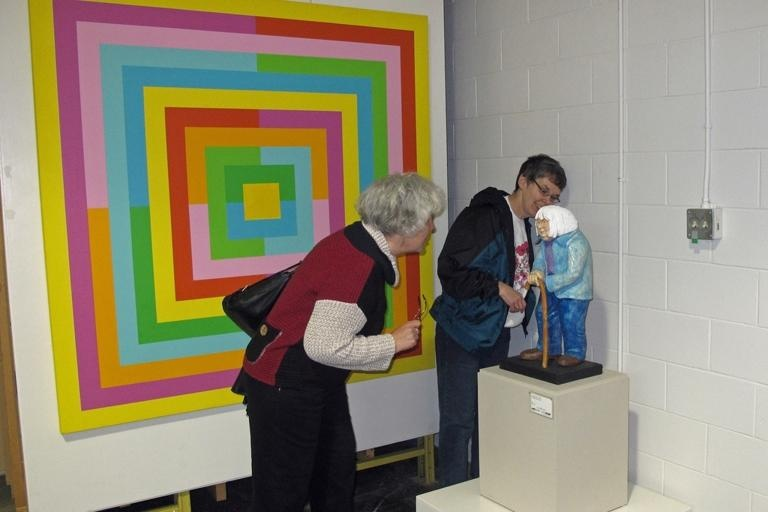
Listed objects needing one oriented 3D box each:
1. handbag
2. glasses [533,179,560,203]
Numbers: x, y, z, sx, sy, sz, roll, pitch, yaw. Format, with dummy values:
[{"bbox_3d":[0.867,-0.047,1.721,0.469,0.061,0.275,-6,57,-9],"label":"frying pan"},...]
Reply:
[{"bbox_3d":[-0.528,0.194,2.579,0.337,0.124,0.285,-37,-24,2],"label":"handbag"},{"bbox_3d":[0.763,-0.319,2.889,0.097,0.044,0.128,23,16,-31],"label":"glasses"}]
